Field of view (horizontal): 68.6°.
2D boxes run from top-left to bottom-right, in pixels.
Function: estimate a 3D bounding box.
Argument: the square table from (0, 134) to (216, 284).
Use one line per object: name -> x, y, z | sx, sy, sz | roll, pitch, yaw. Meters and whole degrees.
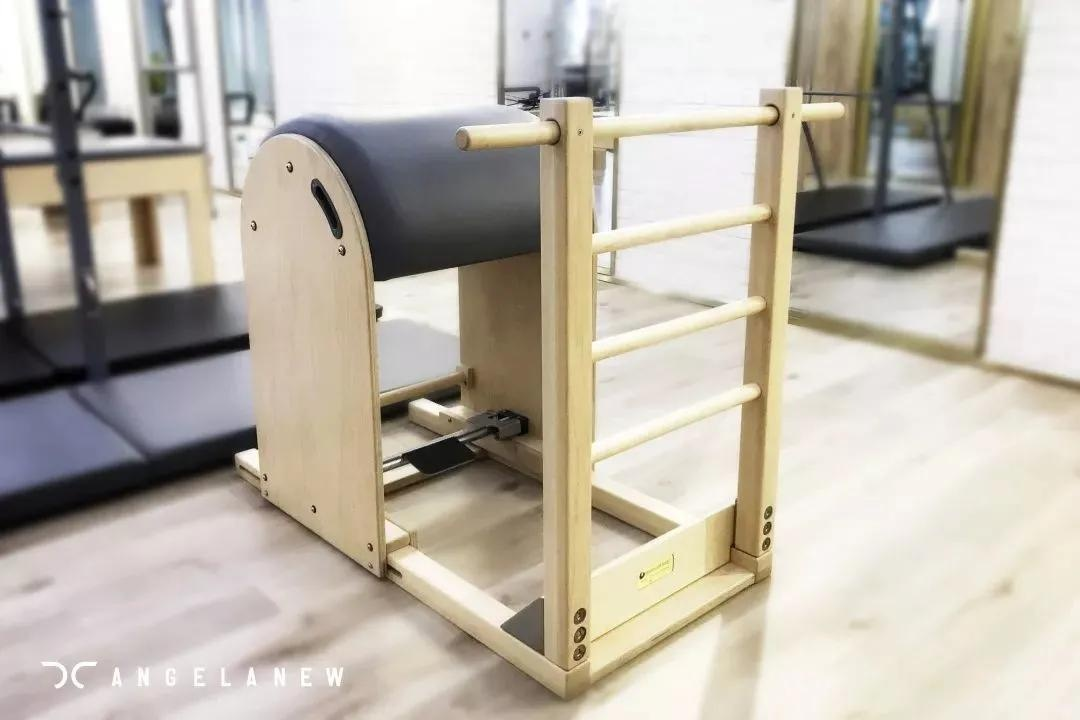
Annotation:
square table -> -1.295, -0.507, 2.390 | 0.381, 0.367, 0.395 | -18, 36, -35
